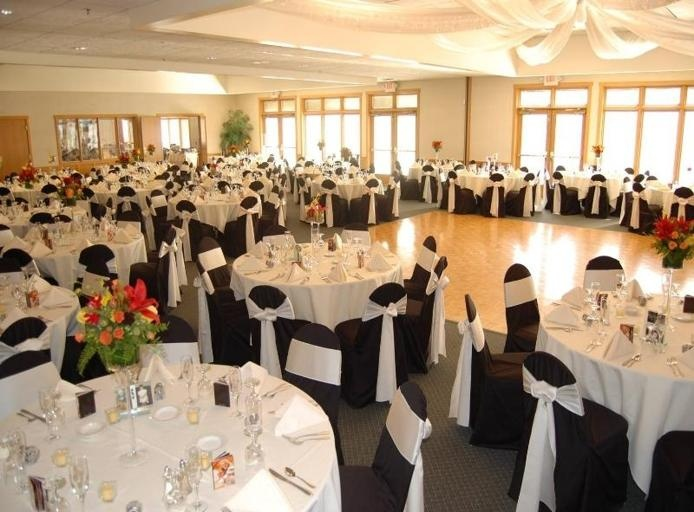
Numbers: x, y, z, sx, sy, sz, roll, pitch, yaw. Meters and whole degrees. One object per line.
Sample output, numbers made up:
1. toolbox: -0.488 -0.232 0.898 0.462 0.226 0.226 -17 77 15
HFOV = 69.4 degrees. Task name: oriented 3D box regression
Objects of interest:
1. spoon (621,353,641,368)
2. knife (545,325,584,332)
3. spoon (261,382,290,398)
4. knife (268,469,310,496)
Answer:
1. spoon: 2.222 0.812 3.889 0.068 0.038 0.242 19 30 32
2. knife: 1.904 0.639 4.393 0.282 0.028 0.097 0 10 15
3. spoon: -0.516 0.958 3.582 0.064 0.053 0.176 23 22 33
4. knife: -0.322 1.255 2.760 0.041 0.025 0.302 -23 31 -37
